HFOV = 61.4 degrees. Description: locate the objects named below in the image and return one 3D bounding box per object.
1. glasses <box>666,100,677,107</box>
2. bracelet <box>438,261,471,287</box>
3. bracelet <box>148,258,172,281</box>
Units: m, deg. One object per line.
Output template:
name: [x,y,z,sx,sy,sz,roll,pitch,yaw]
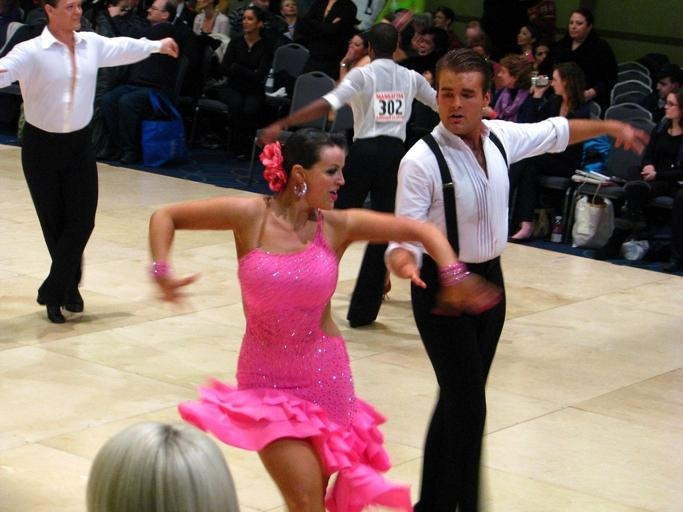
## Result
glasses: [4.366,-2.021,7.614,0.077,0.081,0.151,-1,12,-26]
bracelet: [0.371,0.060,1.901,0.073,0.052,0.088,-22,-3,-1]
bracelet: [-0.603,0.041,1.878,0.069,0.059,0.015,-3,-8,8]
